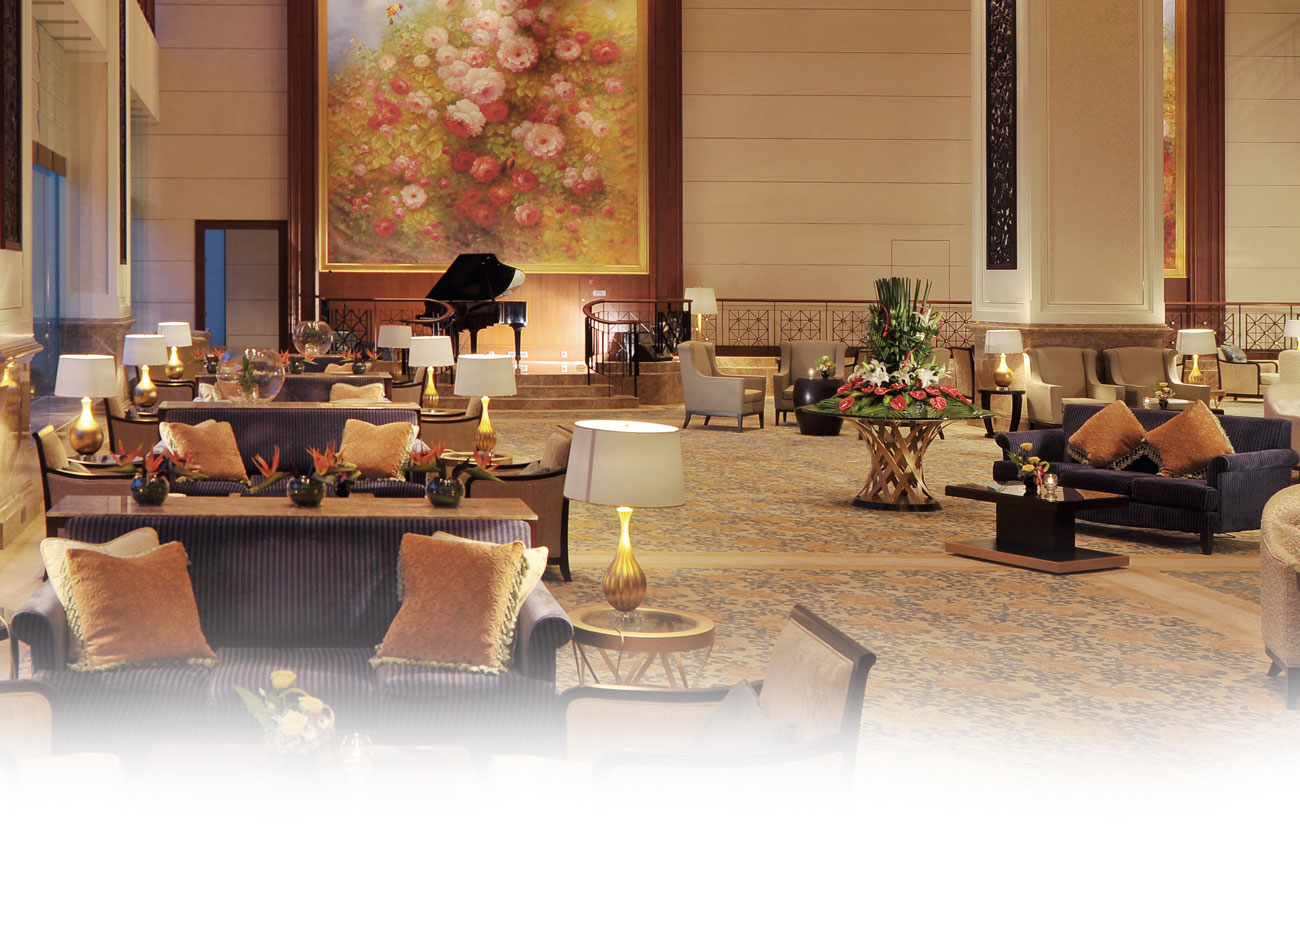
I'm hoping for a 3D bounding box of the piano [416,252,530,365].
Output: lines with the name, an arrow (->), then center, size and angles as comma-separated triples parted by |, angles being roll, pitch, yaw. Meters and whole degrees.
piano -> -2.712, -2.845, 16.697 | 1.957, 1.878, 1.490 | 0, 2, -28
